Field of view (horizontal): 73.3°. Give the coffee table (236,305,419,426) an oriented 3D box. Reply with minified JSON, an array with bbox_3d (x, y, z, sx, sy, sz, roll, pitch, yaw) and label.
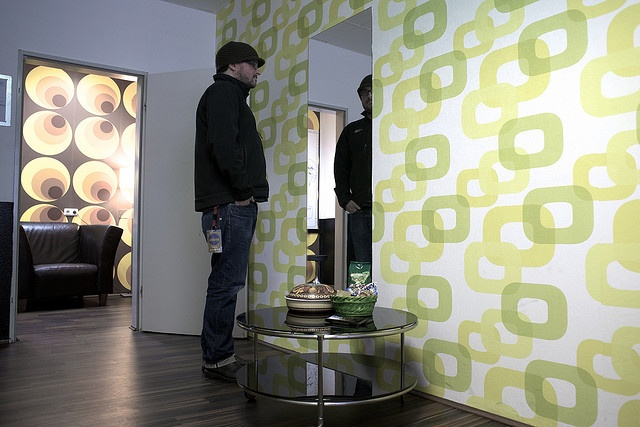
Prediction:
[{"bbox_3d":[0.034,0.961,2.665,0.744,0.385,0.775,1,-2,-1],"label":"coffee table"}]

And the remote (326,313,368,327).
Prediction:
[{"bbox_3d":[0.158,0.603,2.436,0.252,0.035,0.167,1,0,7],"label":"remote"}]

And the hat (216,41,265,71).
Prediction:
[{"bbox_3d":[-0.590,-1.139,3.196,0.283,0.167,0.213,-11,8,-20],"label":"hat"}]

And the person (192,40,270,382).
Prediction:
[{"bbox_3d":[-0.641,-0.052,3.126,0.523,2.017,0.436,1,0,-17],"label":"person"}]

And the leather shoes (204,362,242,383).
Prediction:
[{"bbox_3d":[-0.674,1.093,3.052,0.289,0.146,0.145,0,-2,5],"label":"leather shoes"}]

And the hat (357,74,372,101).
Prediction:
[{"bbox_3d":[0.328,-0.936,3.206,0.097,0.075,0.142,-17,-33,-9],"label":"hat"}]

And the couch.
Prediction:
[{"bbox_3d":[-3.359,0.671,5.784,1.309,1.198,1.008,5,-10,-36],"label":"couch"}]

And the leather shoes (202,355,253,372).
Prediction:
[{"bbox_3d":[-0.681,1.063,3.056,0.287,0.146,0.144,-2,0,-6],"label":"leather shoes"}]
